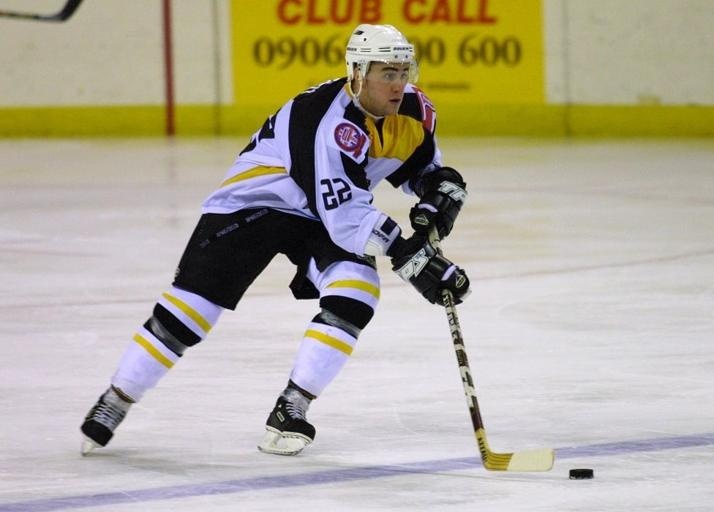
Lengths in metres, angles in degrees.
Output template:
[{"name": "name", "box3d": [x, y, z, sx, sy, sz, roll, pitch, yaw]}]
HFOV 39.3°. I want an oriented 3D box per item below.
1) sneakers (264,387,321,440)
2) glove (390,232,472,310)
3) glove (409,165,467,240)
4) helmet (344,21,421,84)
[{"name": "sneakers", "box3d": [-0.179, 0.463, 2.963, 0.094, 0.134, 0.231, 16, -8, -26]}, {"name": "glove", "box3d": [0.241, 0.029, 3.060, 0.276, 0.153, 0.119, 37, 29, 2]}, {"name": "glove", "box3d": [0.250, -0.154, 3.251, 0.089, 0.166, 0.142, -23, -15, 0]}, {"name": "helmet", "box3d": [0.079, -0.639, 3.128, 0.205, 0.179, 0.235, -16, 20, -28]}]
